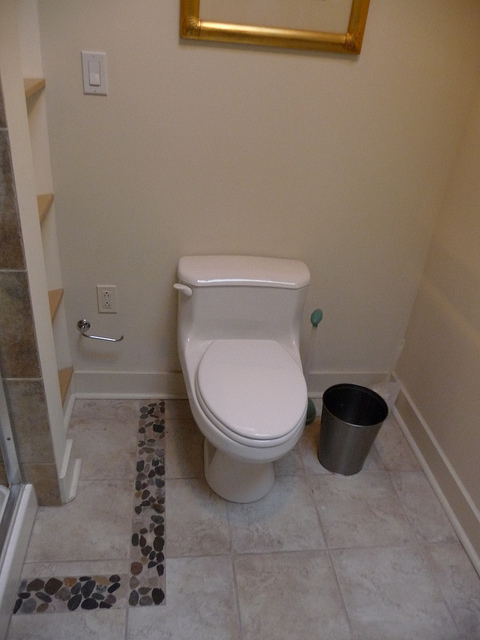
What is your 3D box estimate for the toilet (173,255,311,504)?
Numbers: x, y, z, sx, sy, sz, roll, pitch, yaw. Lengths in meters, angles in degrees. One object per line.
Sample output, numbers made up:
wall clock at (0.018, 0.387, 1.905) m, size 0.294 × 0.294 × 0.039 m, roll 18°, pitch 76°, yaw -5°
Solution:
toilet at (0.002, 0.205, 1.447) m, size 0.332 × 0.583 × 0.568 m, roll -1°, pitch 31°, yaw -12°
